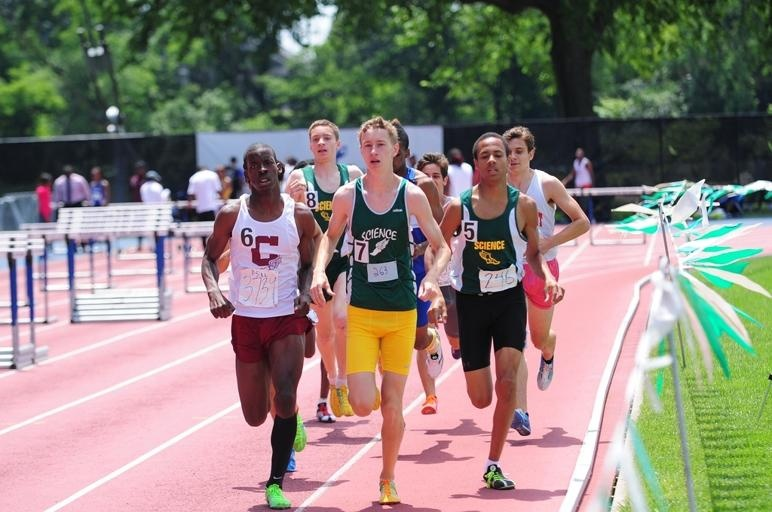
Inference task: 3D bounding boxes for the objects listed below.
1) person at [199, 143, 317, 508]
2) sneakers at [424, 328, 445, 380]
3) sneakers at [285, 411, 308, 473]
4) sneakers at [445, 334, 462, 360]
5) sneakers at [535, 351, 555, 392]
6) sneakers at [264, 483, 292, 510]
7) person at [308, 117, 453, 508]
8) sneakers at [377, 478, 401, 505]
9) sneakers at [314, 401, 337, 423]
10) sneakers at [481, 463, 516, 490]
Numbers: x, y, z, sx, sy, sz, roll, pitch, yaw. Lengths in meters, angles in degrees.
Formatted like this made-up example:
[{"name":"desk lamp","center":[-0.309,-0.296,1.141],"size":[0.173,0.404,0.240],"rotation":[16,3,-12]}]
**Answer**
[{"name":"person","center":[-1.117,0.702,7.148],"size":[1.213,3.265,1.192],"rotation":[4,-31,-15]},{"name":"sneakers","center":[0.500,0.958,8.604],"size":[0.171,0.501,0.198],"rotation":[2,28,10]},{"name":"sneakers","center":[-0.751,1.632,7.464],"size":[0.197,0.602,0.255],"rotation":[-4,21,-3]},{"name":"sneakers","center":[0.717,0.955,9.148],"size":[0.114,0.378,0.155],"rotation":[-2,-24,-2]},{"name":"sneakers","center":[1.605,1.158,8.720],"size":[0.147,0.460,0.175],"rotation":[3,13,2]},{"name":"sneakers","center":[-0.859,1.920,6.912],"size":[0.123,0.125,0.273],"rotation":[-1,-4,-21]},{"name":"person","center":[-0.020,0.415,6.968],"size":[1.066,3.073,0.501],"rotation":[-3,4,7]},{"name":"sneakers","center":[0.029,1.889,7.015],"size":[0.171,0.236,0.293],"rotation":[-3,4,0]},{"name":"sneakers","center":[-0.636,1.608,8.929],"size":[0.113,0.231,0.304],"rotation":[3,-6,-40]},{"name":"sneakers","center":[0.938,1.832,7.213],"size":[0.161,0.139,0.292],"rotation":[2,-2,-28]}]
